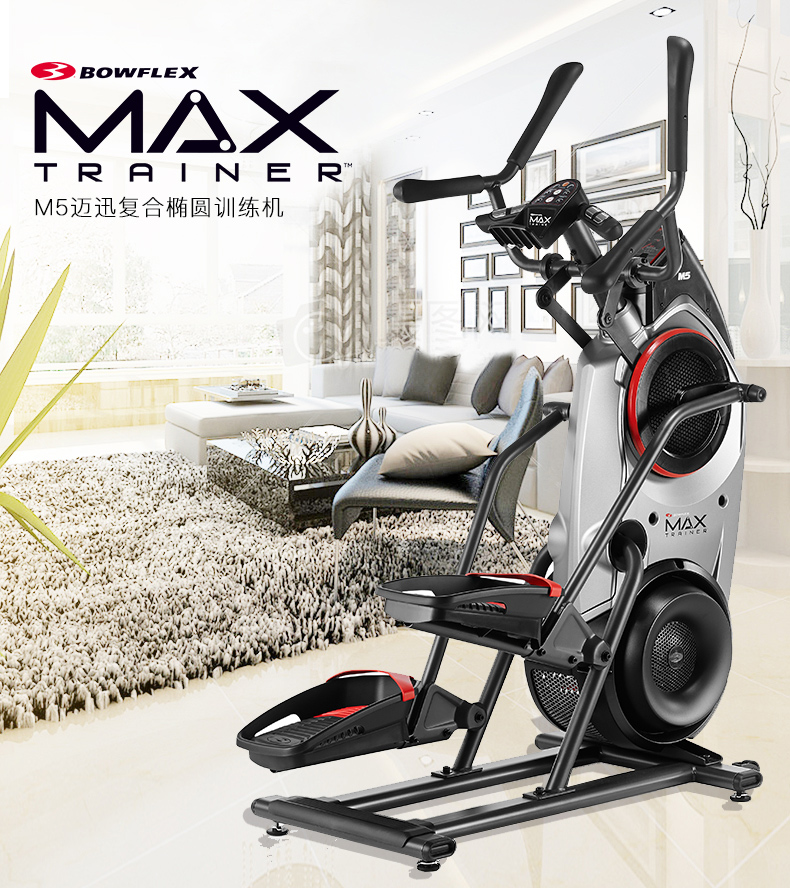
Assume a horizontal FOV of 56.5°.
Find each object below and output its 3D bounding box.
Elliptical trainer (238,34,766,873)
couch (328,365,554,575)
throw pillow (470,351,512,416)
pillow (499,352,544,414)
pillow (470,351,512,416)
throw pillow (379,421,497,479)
[{"bbox_3d":[0.189,-0.022,1.398,1.118,1.390,0.596,-9,12,-22],"label":"Elliptical trainer"},{"bbox_3d":[0.171,0.070,2.892,0.788,0.500,0.740,4,11,9],"label":"couch"},{"bbox_3d":[0.636,-0.410,4.884,0.119,0.362,0.380,20,9,3],"label":"throw pillow"},{"bbox_3d":[0.823,-0.333,4.555,0.193,0.333,0.370,-21,17,-2],"label":"pillow"},{"bbox_3d":[0.640,-0.416,4.883,0.119,0.362,0.380,20,9,3],"label":"pillow"},{"bbox_3d":[0.164,0.016,3.070,0.441,0.200,0.425,-9,16,7],"label":"throw pillow"}]
